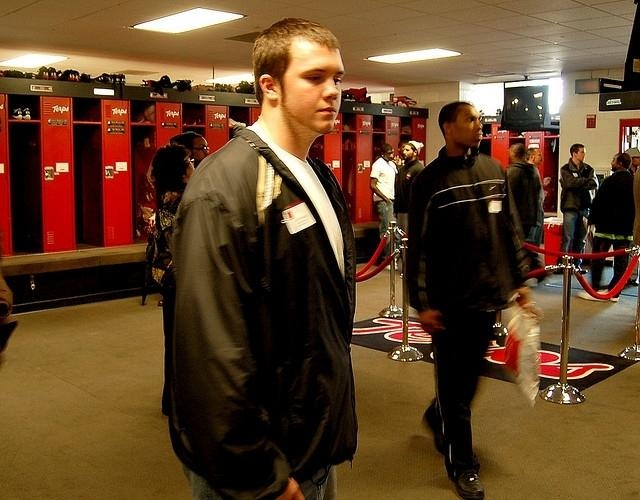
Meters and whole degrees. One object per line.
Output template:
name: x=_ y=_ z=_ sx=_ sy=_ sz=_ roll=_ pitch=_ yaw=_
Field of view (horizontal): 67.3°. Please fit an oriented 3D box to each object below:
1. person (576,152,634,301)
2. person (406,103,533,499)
person: x=4.291 y=-0.350 z=7.123 sx=0.579 sy=2.146 sz=0.809 roll=4 pitch=10 yaw=29
person: x=0.816 y=0.261 z=2.700 sx=0.667 sy=2.194 sz=0.544 roll=0 pitch=8 yaw=1
